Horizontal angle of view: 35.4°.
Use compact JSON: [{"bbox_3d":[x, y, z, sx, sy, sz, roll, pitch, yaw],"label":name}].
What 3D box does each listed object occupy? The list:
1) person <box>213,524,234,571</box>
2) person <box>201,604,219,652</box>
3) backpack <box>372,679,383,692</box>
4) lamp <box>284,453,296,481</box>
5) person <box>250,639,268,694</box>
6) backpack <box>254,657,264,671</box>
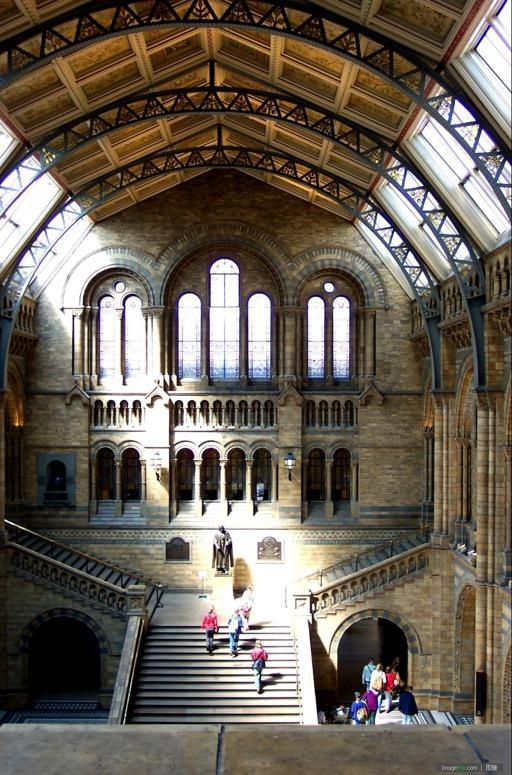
[{"bbox_3d":[-1.080,5.183,25.474,0.581,1.471,0.544,0,-6,-3],"label":"person"},{"bbox_3d":[-1.242,6.553,21.635,0.377,1.250,1.183,0,-6,-4],"label":"person"},{"bbox_3d":[2.972,7.378,19.706,0.282,0.312,0.460,-1,-6,7],"label":"backpack"},{"bbox_3d":[1.144,2.712,27.114,0.391,0.958,0.873,0,-6,2],"label":"lamp"},{"bbox_3d":[0.068,6.981,19.949,0.301,1.323,0.835,0,-6,-2],"label":"person"},{"bbox_3d":[0.066,6.877,19.763,0.245,0.363,0.391,0,-6,0],"label":"backpack"}]
